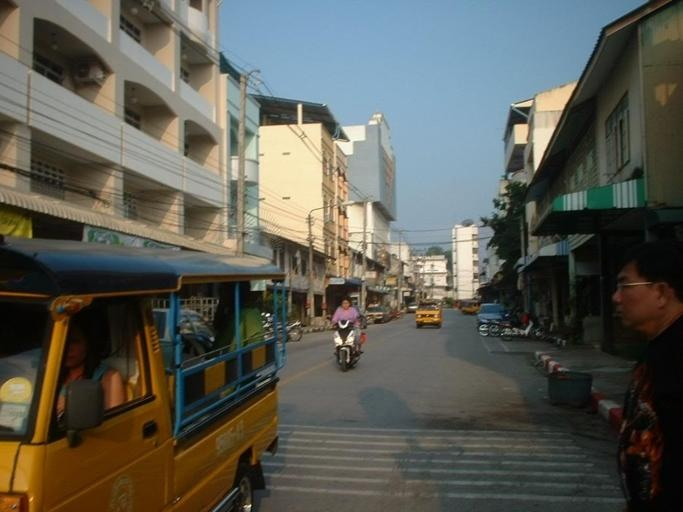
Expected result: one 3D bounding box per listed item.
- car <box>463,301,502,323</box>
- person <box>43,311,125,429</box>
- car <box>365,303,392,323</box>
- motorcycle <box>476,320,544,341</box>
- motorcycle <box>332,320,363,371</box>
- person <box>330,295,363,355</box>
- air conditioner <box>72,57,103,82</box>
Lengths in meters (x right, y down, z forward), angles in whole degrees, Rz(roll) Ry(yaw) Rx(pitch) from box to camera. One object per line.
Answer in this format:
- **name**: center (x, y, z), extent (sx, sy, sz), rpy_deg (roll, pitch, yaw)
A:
- **car**: center (9.387, 3.828, 43.727), extent (1.703, 1.701, 5.358), rpy_deg (-2, -12, 6)
- **person**: center (-1.676, 0.735, 4.342), extent (0.414, 0.676, 0.834), rpy_deg (-1, -3, -19)
- **car**: center (2.732, 4.285, 46.936), extent (1.050, 0.867, 2.476), rpy_deg (1, 4, 13)
- **motorcycle**: center (7.153, 3.093, 27.169), extent (1.834, 1.047, 0.897), rpy_deg (1, -6, 16)
- **motorcycle**: center (0.167, 2.219, 15.987), extent (0.642, 1.232, 1.229), rpy_deg (-2, -2, 1)
- **person**: center (0.215, 1.695, 16.595), extent (0.686, 0.907, 1.342), rpy_deg (-3, -15, 8)
- **air conditioner**: center (-7.655, -5.638, 19.479), extent (0.903, 0.625, 0.439), rpy_deg (-1, -2, -21)
